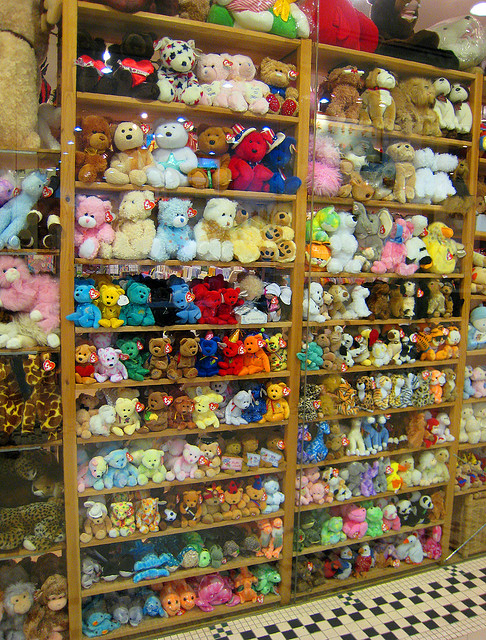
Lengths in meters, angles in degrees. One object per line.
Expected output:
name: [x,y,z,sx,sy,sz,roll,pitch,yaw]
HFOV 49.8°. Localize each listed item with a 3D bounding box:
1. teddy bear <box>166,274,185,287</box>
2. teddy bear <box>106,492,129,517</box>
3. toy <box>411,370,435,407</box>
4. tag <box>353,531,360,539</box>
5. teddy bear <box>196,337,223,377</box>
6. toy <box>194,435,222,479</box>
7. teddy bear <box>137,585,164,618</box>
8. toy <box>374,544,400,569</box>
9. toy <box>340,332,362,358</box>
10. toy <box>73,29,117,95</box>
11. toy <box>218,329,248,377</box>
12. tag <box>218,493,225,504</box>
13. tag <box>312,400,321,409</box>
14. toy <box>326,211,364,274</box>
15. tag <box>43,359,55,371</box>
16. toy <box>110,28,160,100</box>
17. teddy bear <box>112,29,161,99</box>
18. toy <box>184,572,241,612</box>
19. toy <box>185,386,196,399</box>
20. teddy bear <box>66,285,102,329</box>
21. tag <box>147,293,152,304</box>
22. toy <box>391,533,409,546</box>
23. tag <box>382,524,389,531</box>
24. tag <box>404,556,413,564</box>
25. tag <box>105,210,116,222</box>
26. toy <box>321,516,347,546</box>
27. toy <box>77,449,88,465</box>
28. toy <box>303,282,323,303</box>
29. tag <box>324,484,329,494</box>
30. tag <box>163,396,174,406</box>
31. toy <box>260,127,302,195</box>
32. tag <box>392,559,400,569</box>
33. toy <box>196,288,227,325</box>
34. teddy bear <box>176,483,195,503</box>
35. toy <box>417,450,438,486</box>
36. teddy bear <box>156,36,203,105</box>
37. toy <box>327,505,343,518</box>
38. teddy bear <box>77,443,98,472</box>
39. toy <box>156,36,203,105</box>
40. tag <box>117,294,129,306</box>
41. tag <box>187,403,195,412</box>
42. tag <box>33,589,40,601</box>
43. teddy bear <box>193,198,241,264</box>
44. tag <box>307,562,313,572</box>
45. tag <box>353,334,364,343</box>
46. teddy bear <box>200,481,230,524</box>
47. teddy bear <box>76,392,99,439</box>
teddy bear: [-0.251,-0.143,1.980,0.056,0.040,0.055,-29,-29,30]
teddy bear: [-0.462,0.669,1.915,0.066,0.076,0.081,3,-2,-19]
toy: [0.849,0.324,2.476,0.123,0.152,0.072,18,-13,-39]
tag: [0.516,0.973,2.382,0.026,0.031,0.009,5,11,-14]
teddy bear: [-0.128,0.143,2.024,0.098,0.145,0.037,0,7,-36]
toy: [-0.144,0.545,2.087,0.116,0.146,0.105,-4,3,5]
teddy bear: [-0.361,1.084,2.030,0.099,0.050,0.120,15,35,-29]
toy: [0.676,1.108,2.470,0.091,0.053,0.114,-5,-7,8]
toy: [0.469,0.110,2.303,0.075,0.095,0.066,-27,13,1]
toy: [-0.508,-0.859,1.770,0.085,0.165,0.255,-6,14,-42]
toy: [-0.044,0.132,2.068,0.120,0.174,0.108,-1,15,11]
tag: [-0.085,0.718,2.118,0.028,0.035,0.014,3,-5,-22]
tag: [0.316,0.362,2.246,0.038,0.033,0.008,4,-2,-35]
toy: [0.415,-0.344,2.274,0.181,0.284,0.137,-1,11,-22]
tag: [-0.676,0.156,1.824,0.034,0.028,0.007,33,-29,-23]
toy: [-0.386,-0.912,1.863,0.180,0.238,0.175,2,17,-19]
teddy bear: [-0.386,-0.915,1.867,0.192,0.249,0.187,-1,10,-22]
toy: [-0.134,1.074,2.166,0.190,0.093,0.251,-5,21,-16]
toy: [-0.204,0.278,2.030,0.024,0.051,0.024,-35,16,-36]
teddy bear: [-0.556,-0.045,1.833,0.114,0.151,0.042,2,6,-14]
tag: [-0.337,-0.074,1.901,0.007,0.024,0.019,1,4,12]
toy: [0.749,1.044,2.507,0.065,0.059,0.019,-14,6,-11]
tag: [0.658,0.961,2.436,0.028,0.025,0.007,3,-4,-8]
tag: [0.790,1.145,2.506,0.034,0.018,0.034,-16,41,-12]
tag: [-0.472,-0.367,1.861,0.028,0.035,0.009,-19,5,-40]
toy: [0.398,0.941,2.338,0.134,0.119,0.077,9,-16,-39]
toy: [-0.581,0.492,1.896,0.036,0.050,0.012,0,7,-36]
toy: [0.295,-0.116,2.198,0.099,0.083,0.035,0,6,-30]
tag: [0.370,0.743,2.319,0.014,0.030,0.026,-1,-6,42]
tag: [-0.286,0.303,1.983,0.046,0.036,0.006,3,-4,-33]
toy: [0.142,-0.627,2.105,0.181,0.214,0.180,12,7,26]
tag: [0.720,1.142,2.465,0.035,0.031,0.018,9,-6,-6]
toy: [-0.124,-0.047,1.987,0.093,0.124,0.111,36,18,34]
teddy bear: [-0.232,0.654,2.026,0.072,0.085,0.067,3,-4,-41]
toy: [0.893,0.715,2.542,0.122,0.162,0.037,0,6,-31]
teddy bear: [-0.243,-0.914,1.942,0.160,0.215,0.144,-4,30,-18]
toy: [0.422,0.855,2.345,0.057,0.052,0.026,12,-24,-7]
teddy bear: [-0.556,0.479,1.861,0.091,0.075,0.067,2,-3,-25]
toy: [-0.245,-0.914,1.939,0.176,0.218,0.149,-9,30,-26]
tag: [-0.423,-0.076,1.847,0.035,0.033,0.009,18,-15,-26]
tag: [-0.198,0.336,2.016,0.007,0.027,0.029,22,-2,15]
tag: [-0.737,0.982,1.875,0.022,0.025,0.010,-27,-37,30]
teddy bear: [-0.108,-0.352,2.039,0.167,0.236,0.167,24,23,32]
tag: [0.293,1.079,2.297,0.026,0.032,0.017,5,-12,-32]
tag: [0.514,0.083,2.328,0.048,0.019,0.025,-14,9,-31]
teddy bear: [-0.095,0.735,2.125,0.106,0.136,0.104,-18,1,-8]
teddy bear: [-0.574,0.345,1.892,0.108,0.132,0.077,-20,-17,32]
